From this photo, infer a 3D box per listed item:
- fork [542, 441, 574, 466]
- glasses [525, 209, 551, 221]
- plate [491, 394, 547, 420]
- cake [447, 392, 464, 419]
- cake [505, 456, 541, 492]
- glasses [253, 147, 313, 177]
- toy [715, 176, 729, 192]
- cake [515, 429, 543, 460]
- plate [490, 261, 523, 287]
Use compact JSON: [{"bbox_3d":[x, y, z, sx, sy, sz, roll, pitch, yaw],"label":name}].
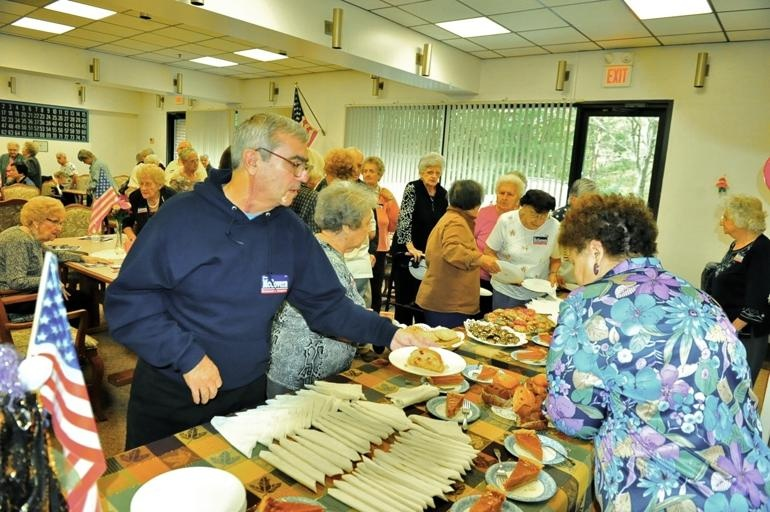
[{"bbox_3d":[0.698,0.792,2.205,0.090,0.013,0.058,30,19,17],"label":"fork"},{"bbox_3d":[1.147,-0.314,4.184,0.104,0.056,0.133,1,4,-17],"label":"glasses"},{"bbox_3d":[0.582,0.670,2.419,0.141,0.050,0.146,-12,-4,27],"label":"plate"},{"bbox_3d":[0.296,0.640,2.358,0.072,0.027,0.087,16,33,11],"label":"cake"},{"bbox_3d":[0.504,0.809,2.040,0.082,0.041,0.135,16,18,41],"label":"cake"},{"bbox_3d":[-0.436,-0.423,2.402,0.148,0.043,0.140,24,4,10],"label":"glasses"},{"bbox_3d":[3.620,-0.775,5.923,0.160,0.170,0.149,-1,3,-31],"label":"toy"},{"bbox_3d":[0.574,0.747,2.184,0.073,0.039,0.111,-7,14,-17],"label":"cake"},{"bbox_3d":[0.847,0.118,3.804,0.205,0.193,0.034,7,49,19],"label":"plate"}]
